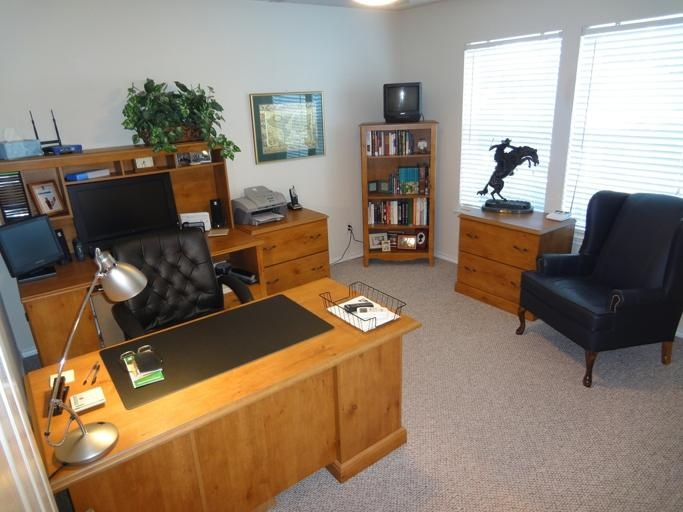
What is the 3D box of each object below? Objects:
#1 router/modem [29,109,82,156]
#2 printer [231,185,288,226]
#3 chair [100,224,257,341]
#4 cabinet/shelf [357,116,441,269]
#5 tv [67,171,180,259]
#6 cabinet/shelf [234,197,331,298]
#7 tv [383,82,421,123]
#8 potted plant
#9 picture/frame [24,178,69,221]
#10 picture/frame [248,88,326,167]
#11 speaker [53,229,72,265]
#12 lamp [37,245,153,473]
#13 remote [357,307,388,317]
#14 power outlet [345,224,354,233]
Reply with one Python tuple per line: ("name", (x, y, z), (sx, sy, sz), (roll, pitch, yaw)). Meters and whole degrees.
("router/modem", (-2.302, -1.016, 4.038), (0.297, 0.339, 0.379), (-15, 23, -30))
("printer", (-0.796, -0.510, 4.964), (0.497, 0.314, 0.367), (-15, 23, -30))
("chair", (-1.231, 0.120, 3.893), (0.881, 1.069, 0.877), (-21, 29, -22))
("cabinet/shelf", (0.659, -0.736, 5.788), (0.831, 1.624, 0.416), (-1, 20, 5))
("tv", (-1.808, -0.347, 4.068), (0.661, 0.475, 0.196), (-20, 26, -33))
("cabinet/shelf", (-0.488, -0.142, 5.243), (1.129, 1.075, 0.736), (-21, 32, -34))
("tv", (0.646, -1.671, 5.591), (0.521, 0.517, 0.373), (1, 15, 7))
("potted plant", (-1.416, -1.194, 4.285), (0.783, 0.388, 0.768), (-11, 36, -39))
("picture/frame", (-2.400, -0.475, 4.064), (0.047, 0.378, 0.273), (-6, 19, 35))
("picture/frame", (-0.604, -1.406, 5.280), (0.808, 0.670, 0.028), (-15, 24, -33))
("speaker", (-2.237, -0.082, 4.040), (0.070, 0.275, 0.198), (-2, 11, 4))
("lamp", (-1.420, 0.590, 2.888), (0.715, 1.277, 0.509), (-18, 40, -38))
("remote", (0.190, 0.353, 3.116), (0.141, 0.034, 0.078), (1, 23, -3))
("power outlet", (0.114, -0.343, 6.072), (0.071, 0.102, 0.030), (-2, 8, -30))
